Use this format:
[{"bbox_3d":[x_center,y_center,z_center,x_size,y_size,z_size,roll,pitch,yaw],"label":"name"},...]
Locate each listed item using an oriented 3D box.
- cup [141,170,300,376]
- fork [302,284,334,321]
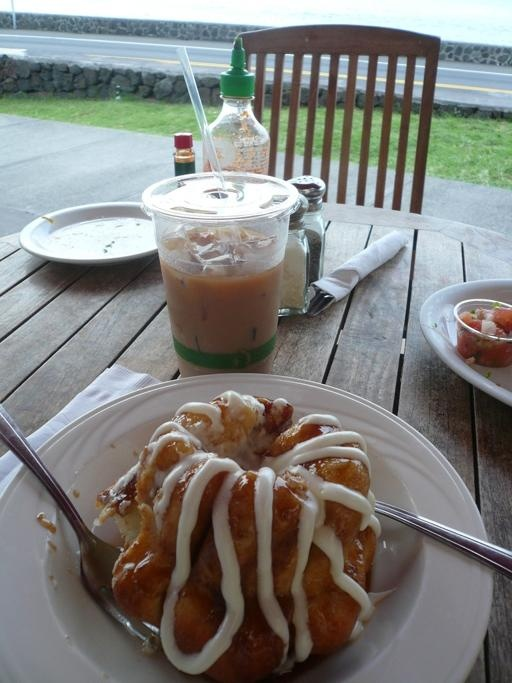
[{"bbox_3d":[-0.052,-0.099,0.831,0.213,0.261,0.234,2,32,-1],"label":"cup"},{"bbox_3d":[0.118,-0.074,1.047,0.040,0.027,0.070,8,40,27],"label":"fork"}]
